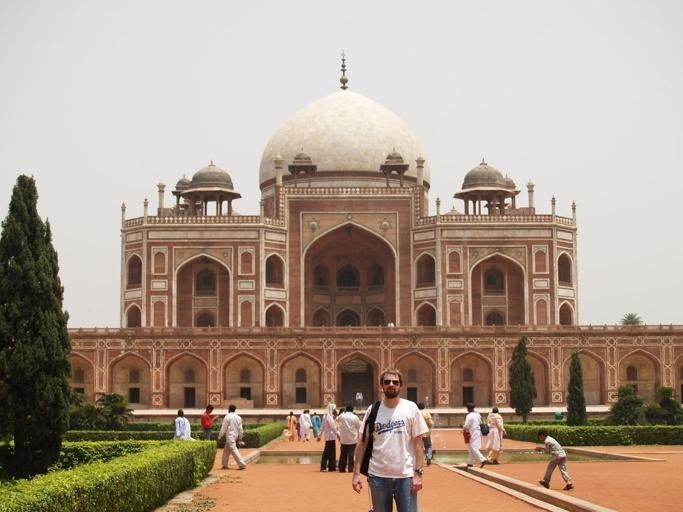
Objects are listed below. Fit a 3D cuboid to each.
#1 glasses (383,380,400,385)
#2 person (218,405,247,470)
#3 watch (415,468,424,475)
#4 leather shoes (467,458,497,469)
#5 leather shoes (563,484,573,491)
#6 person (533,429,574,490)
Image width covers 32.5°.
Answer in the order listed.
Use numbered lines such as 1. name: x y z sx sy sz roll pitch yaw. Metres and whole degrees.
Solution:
1. glasses: 0.708 1.871 17.349 0.227 0.071 0.056 1 9 1
2. person: -2.380 3.946 25.431 0.527 1.601 1.390 0 9 -5
3. watch: 1.124 3.195 17.381 0.107 0.117 0.078 2 1 11
4. leather shoes: 2.952 4.446 25.049 0.613 0.260 0.189 -9 -5 -5
5. leather shoes: 4.211 4.363 22.054 0.170 0.169 0.079 -2 -4 19
6. person: 4.087 4.024 22.746 0.719 1.261 2.529 2 9 9
